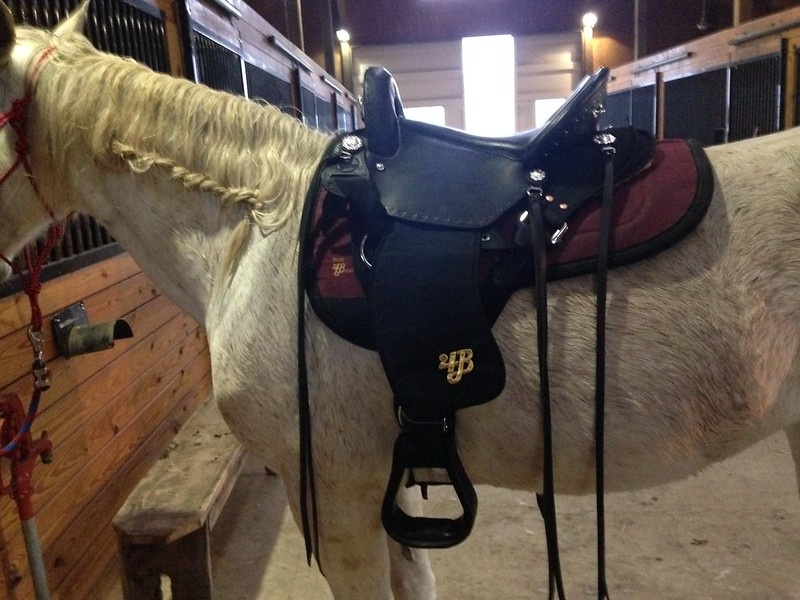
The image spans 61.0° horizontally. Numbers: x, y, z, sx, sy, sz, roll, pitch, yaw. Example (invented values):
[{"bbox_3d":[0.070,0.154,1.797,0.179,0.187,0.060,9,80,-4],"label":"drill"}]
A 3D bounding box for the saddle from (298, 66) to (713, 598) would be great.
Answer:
[{"bbox_3d":[0.203,0.049,1.397,0.825,1.071,0.380,-2,13,16],"label":"saddle"}]
